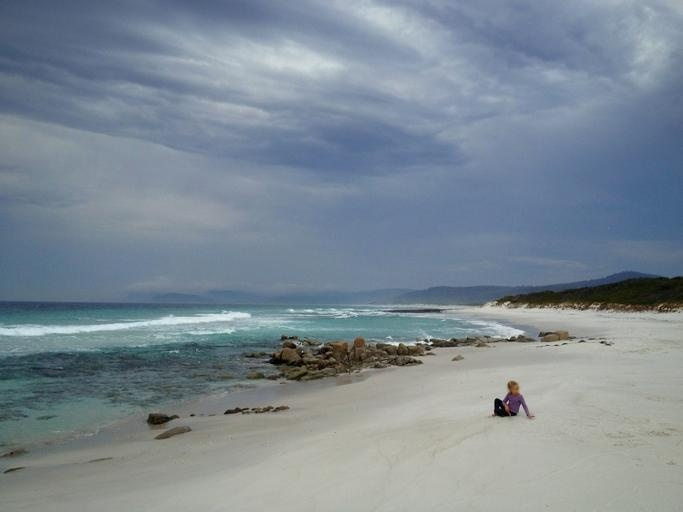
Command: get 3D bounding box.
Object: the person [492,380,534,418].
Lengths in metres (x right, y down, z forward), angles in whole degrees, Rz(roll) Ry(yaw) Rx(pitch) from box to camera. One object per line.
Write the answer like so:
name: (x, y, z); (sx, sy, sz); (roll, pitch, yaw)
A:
person: (4.009, 3.387, 10.637); (1.011, 0.770, 0.599); (-7, -11, 32)
